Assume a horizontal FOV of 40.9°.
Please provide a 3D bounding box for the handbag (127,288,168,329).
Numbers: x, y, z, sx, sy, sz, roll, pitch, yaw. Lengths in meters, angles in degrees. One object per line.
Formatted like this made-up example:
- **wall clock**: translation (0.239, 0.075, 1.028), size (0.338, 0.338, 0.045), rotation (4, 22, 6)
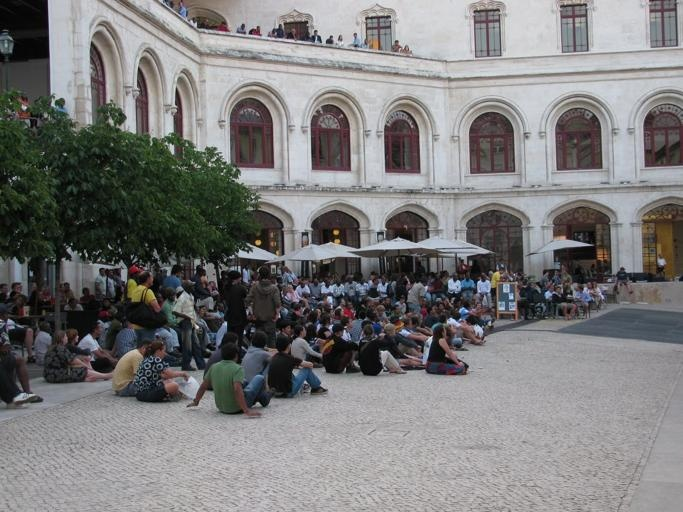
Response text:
- **handbag**: translation (-4.129, 1.124, 19.365), size (0.902, 0.991, 0.476), rotation (0, -4, 2)

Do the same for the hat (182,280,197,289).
- **hat**: translation (-3.349, 0.636, 19.910), size (0.226, 0.178, 0.360), rotation (-1, -2, -15)

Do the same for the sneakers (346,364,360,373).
- **sneakers**: translation (0.249, 2.503, 20.415), size (0.349, 0.248, 0.121), rotation (-1, 4, -10)

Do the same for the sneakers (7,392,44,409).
- **sneakers**: translation (-5.734, 2.609, 16.707), size (0.645, 0.264, 0.235), rotation (-14, -30, -14)

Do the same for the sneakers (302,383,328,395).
- **sneakers**: translation (-0.521, 2.614, 18.051), size (0.491, 0.222, 0.198), rotation (0, -3, 7)
